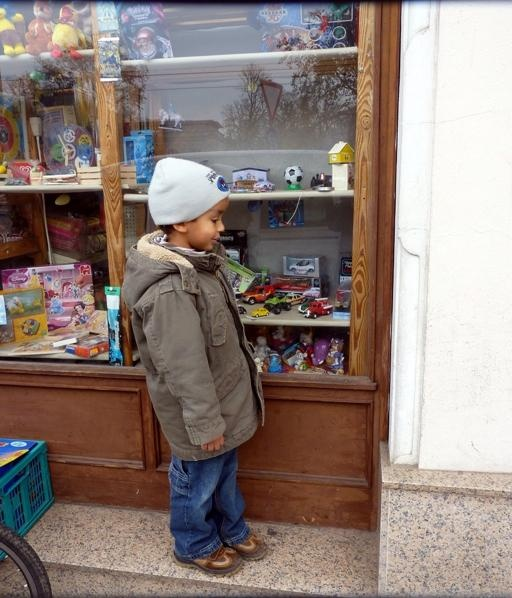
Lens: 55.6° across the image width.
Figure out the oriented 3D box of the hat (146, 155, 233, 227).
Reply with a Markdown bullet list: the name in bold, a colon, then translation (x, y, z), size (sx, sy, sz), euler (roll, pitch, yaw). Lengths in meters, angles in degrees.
- **hat**: translation (-0.225, -0.340, 1.610), size (0.233, 0.181, 0.216), euler (-7, 37, 38)

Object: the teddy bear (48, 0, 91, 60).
- **teddy bear**: translation (-0.810, -1.162, 2.085), size (0.247, 0.190, 0.064), euler (7, 18, 35)

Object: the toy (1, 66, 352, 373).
- **toy**: translation (-0.294, -0.380, 2.093), size (1.435, 1.268, 0.456), euler (1, 9, 6)

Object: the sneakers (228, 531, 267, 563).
- **sneakers**: translation (-0.033, 1.011, 1.987), size (0.140, 0.057, 0.081), euler (-5, 19, -16)

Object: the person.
- **person**: translation (-0.172, 0.309, 1.739), size (0.439, 1.578, 0.413), euler (-14, 18, -32)

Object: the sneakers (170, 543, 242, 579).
- **sneakers**: translation (-0.193, 1.023, 1.904), size (0.191, 0.077, 0.109), euler (1, 15, 6)
